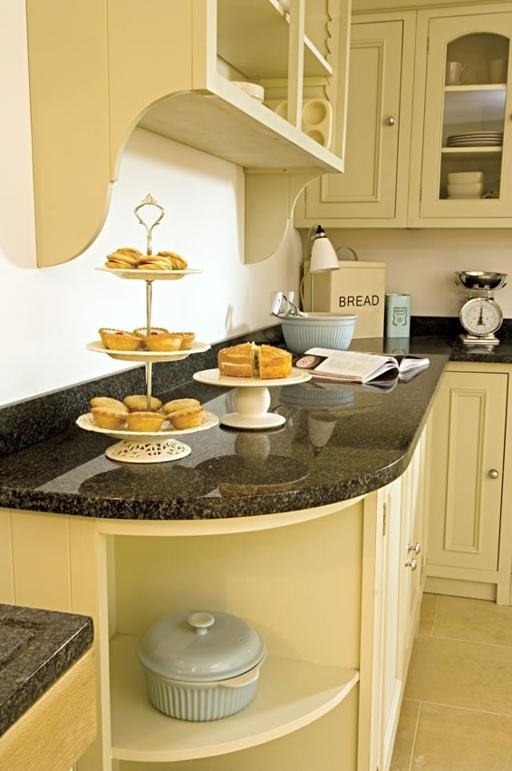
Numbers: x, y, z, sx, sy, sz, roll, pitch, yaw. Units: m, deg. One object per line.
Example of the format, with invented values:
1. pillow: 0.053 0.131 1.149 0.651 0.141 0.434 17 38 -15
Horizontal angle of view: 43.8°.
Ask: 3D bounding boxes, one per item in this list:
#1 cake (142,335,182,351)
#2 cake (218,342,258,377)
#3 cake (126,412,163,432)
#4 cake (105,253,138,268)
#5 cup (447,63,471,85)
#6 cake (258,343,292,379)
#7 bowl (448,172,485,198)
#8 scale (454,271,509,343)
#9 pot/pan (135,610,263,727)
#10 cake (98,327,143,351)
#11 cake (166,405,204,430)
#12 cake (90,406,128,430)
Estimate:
1. cake: -0.120 -0.056 0.824 0.031 0.014 0.029 3 7 29
2. cake: -0.028 -0.053 1.111 0.060 0.022 0.063 -7 19 -20
3. cake: -0.153 0.049 0.879 0.051 0.029 0.037 -1 5 -4
4. cake: -0.180 -0.171 0.848 0.029 0.014 0.029 8 15 4
5. cup: 0.777 -1.211 2.463 0.102 0.091 0.059 -2 10 -11
6. cake: 0.034 -0.046 1.099 0.056 0.034 0.058 2 20 6
7. bowl: 0.820 -0.793 2.512 0.114 0.082 0.112 -1 18 0
8. scale: 0.944 -0.332 2.656 0.212 0.320 0.439 1 5 16
9. pot/pan: -0.089 0.452 1.042 0.202 0.131 0.181 0 5 0
10. cake: -0.170 -0.062 0.829 0.041 0.016 0.039 -3 12 -27
11. cake: -0.091 0.041 0.892 0.036 0.018 0.036 -7 5 -31
12. cake: -0.197 0.043 0.856 0.038 0.018 0.036 5 0 -10
